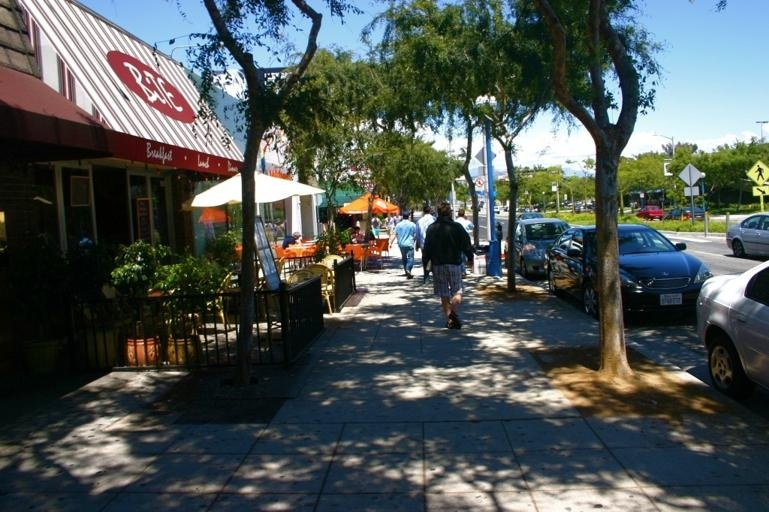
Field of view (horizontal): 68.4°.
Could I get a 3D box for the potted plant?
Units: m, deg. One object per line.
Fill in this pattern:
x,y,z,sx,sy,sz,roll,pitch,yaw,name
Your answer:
-3.752,0.838,9.898,1.777,1.991,2.820,-5,9,-25,potted plant

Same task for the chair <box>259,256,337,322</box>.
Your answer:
-2.253,0.680,13.321,1.465,2.188,1.517,-1,-7,2,chair

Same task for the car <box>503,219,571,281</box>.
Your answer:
5.224,-0.384,19.026,1.647,1.302,2.750,-1,1,-2,car

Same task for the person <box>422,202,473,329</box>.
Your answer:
1.312,0.209,11.343,0.996,2.439,0.985,-2,4,1,person

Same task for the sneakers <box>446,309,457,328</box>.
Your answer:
1.373,1.249,11.317,0.169,0.348,0.145,-15,5,18,sneakers

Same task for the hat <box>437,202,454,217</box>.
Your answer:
1.237,-0.930,11.496,0.275,0.292,0.268,-1,8,40,hat

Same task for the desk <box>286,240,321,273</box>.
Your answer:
-2.942,-0.002,19.903,1.292,0.664,1.422,-2,5,-1,desk

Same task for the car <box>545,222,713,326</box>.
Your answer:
5.047,0.270,13.224,2.918,2.019,5.262,-2,8,-6,car
